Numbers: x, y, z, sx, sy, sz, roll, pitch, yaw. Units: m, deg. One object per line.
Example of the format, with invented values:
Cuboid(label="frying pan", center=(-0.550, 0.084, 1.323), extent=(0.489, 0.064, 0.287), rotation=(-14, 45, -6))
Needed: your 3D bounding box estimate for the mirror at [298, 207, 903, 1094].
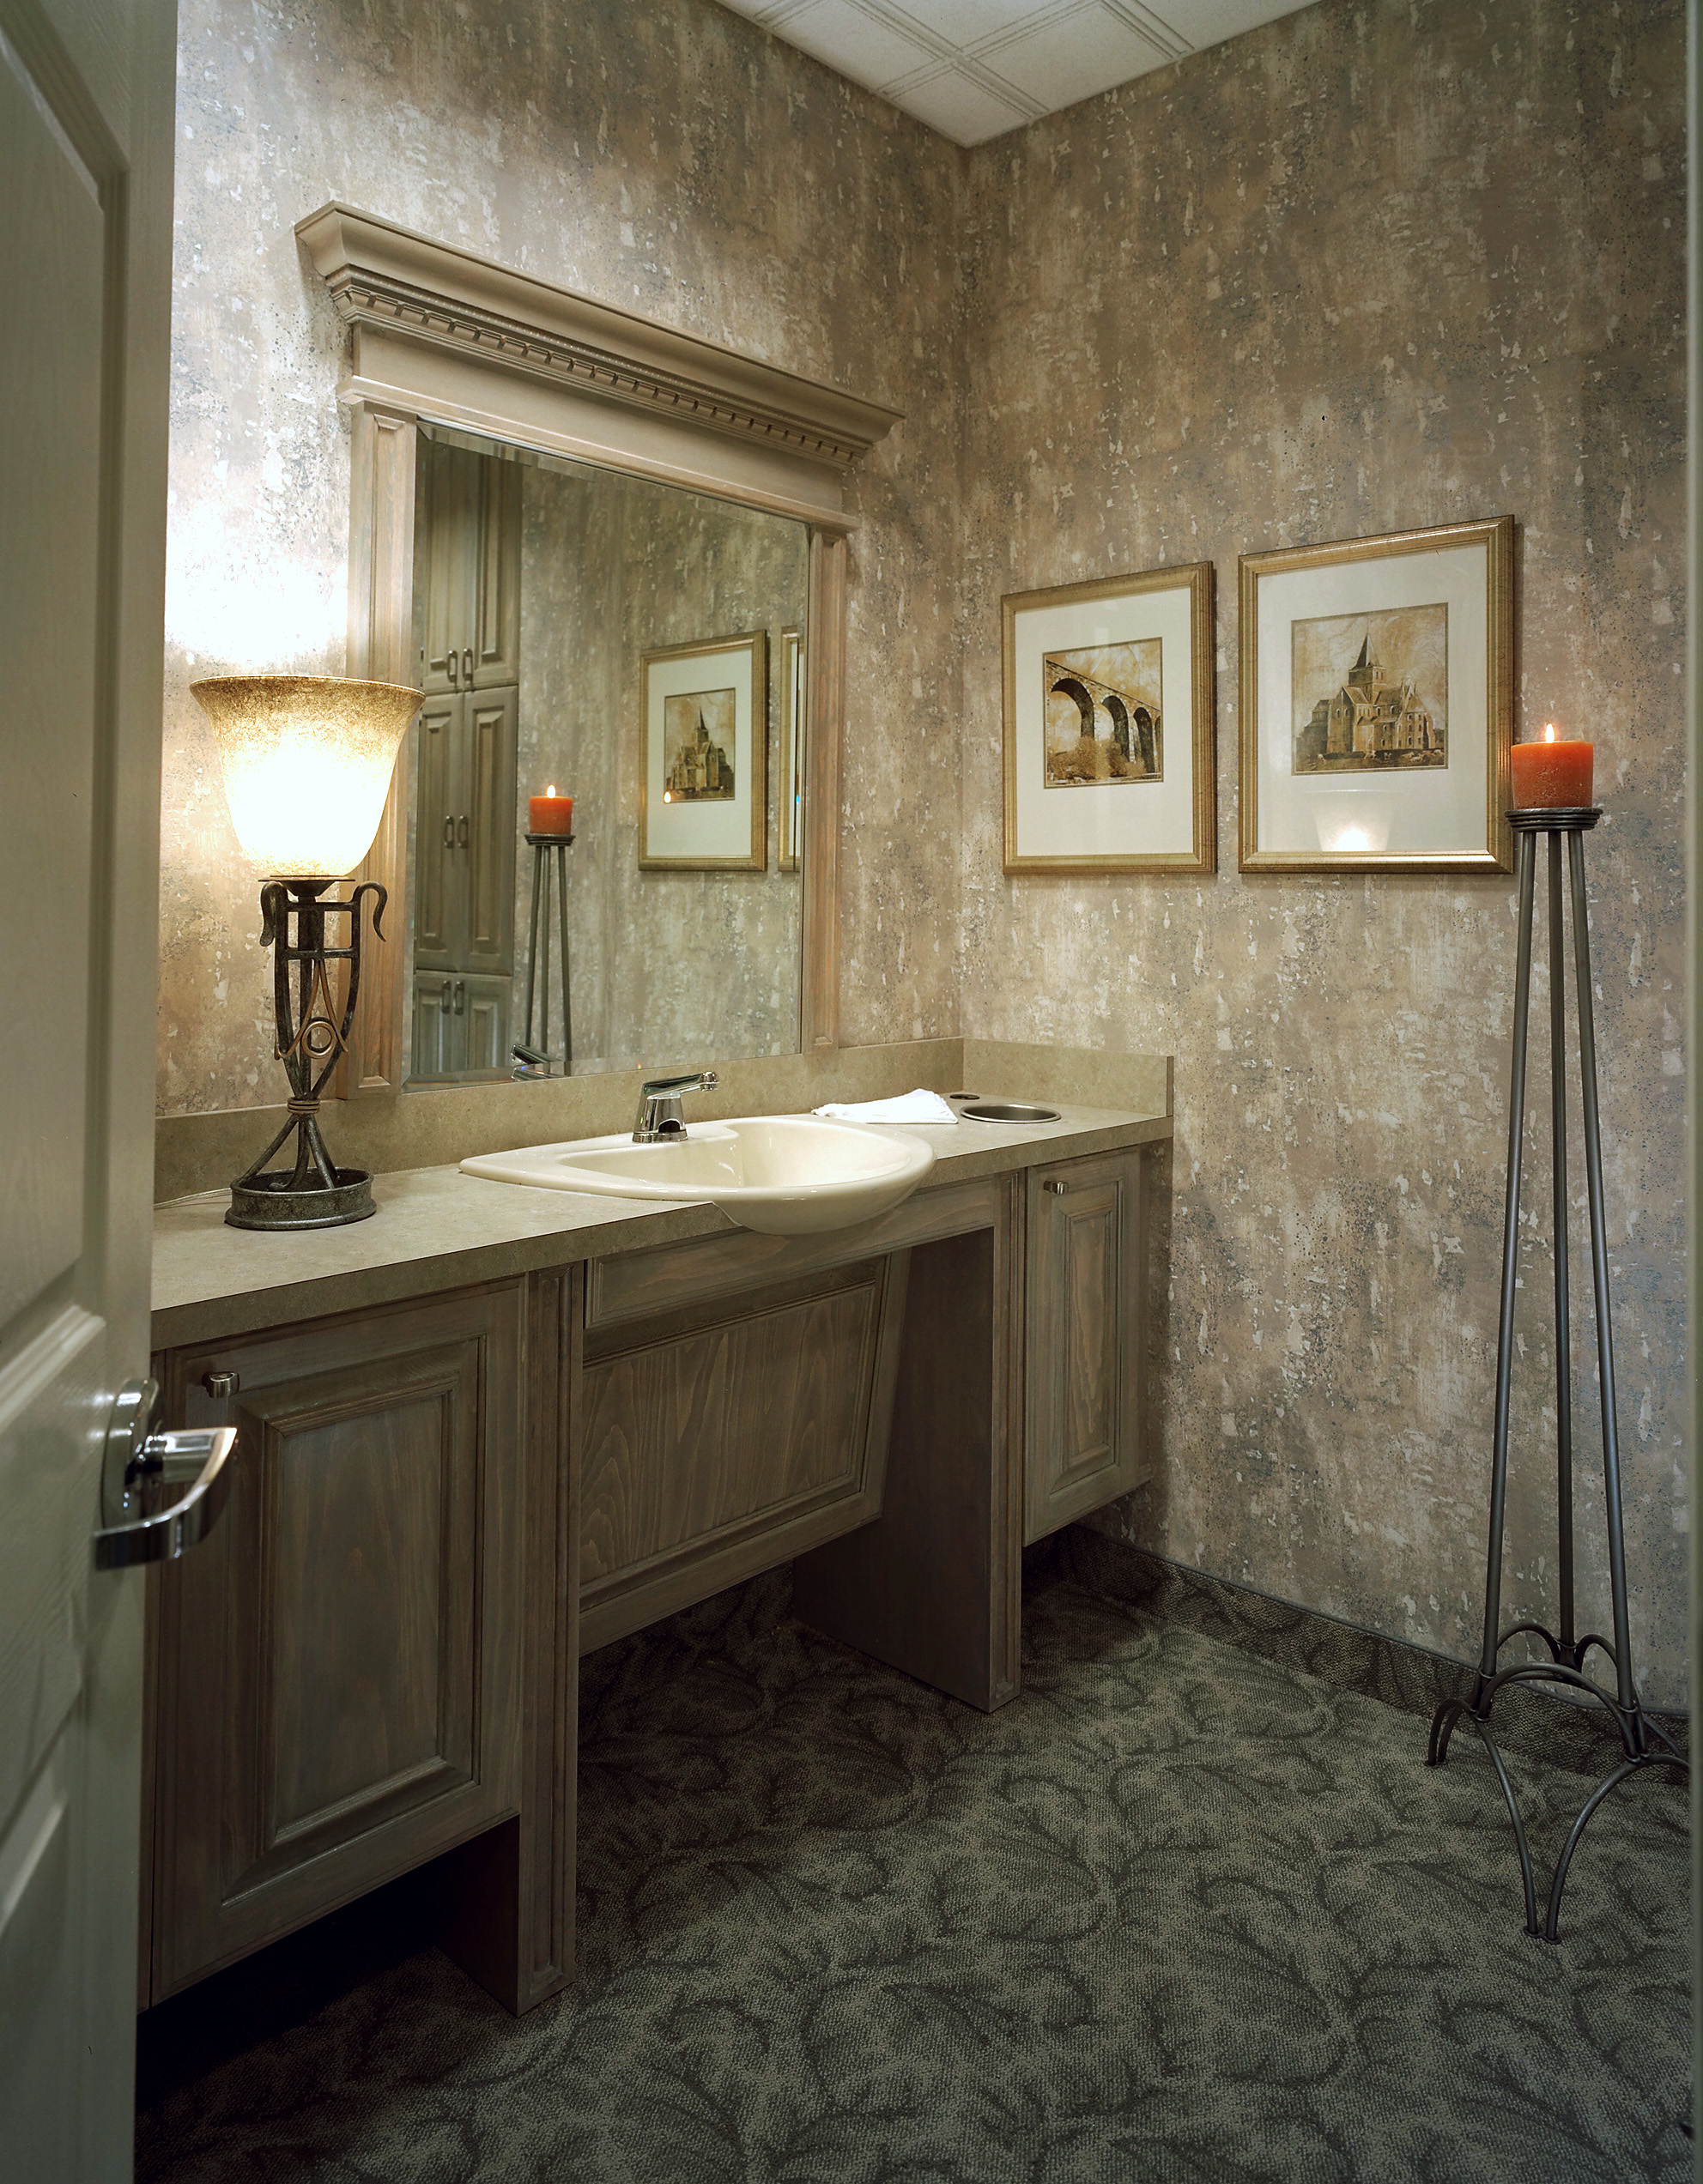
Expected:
Cuboid(label="mirror", center=(-0.363, -0.529, 2.353), extent=(0.814, 1.162, 0.124), rotation=(-1, 21, -30))

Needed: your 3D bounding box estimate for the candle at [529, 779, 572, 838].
Cuboid(label="candle", center=(-0.426, -0.391, 2.163), extent=(0.046, 0.079, 0.054), rotation=(2, 0, -22))

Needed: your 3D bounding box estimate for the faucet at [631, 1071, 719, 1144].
Cuboid(label="faucet", center=(-0.266, 0.026, 2.240), extent=(0.059, 0.133, 0.160), rotation=(1, -3, -34))

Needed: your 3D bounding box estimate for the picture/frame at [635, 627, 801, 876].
Cuboid(label="picture/frame", center=(-0.224, -0.541, 2.441), extent=(0.038, 0.569, 0.313), rotation=(5, 3, 38))

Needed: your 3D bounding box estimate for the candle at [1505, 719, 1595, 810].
Cuboid(label="candle", center=(0.916, -0.412, 2.008), extent=(0.091, 0.122, 0.107), rotation=(2, 4, 24))
